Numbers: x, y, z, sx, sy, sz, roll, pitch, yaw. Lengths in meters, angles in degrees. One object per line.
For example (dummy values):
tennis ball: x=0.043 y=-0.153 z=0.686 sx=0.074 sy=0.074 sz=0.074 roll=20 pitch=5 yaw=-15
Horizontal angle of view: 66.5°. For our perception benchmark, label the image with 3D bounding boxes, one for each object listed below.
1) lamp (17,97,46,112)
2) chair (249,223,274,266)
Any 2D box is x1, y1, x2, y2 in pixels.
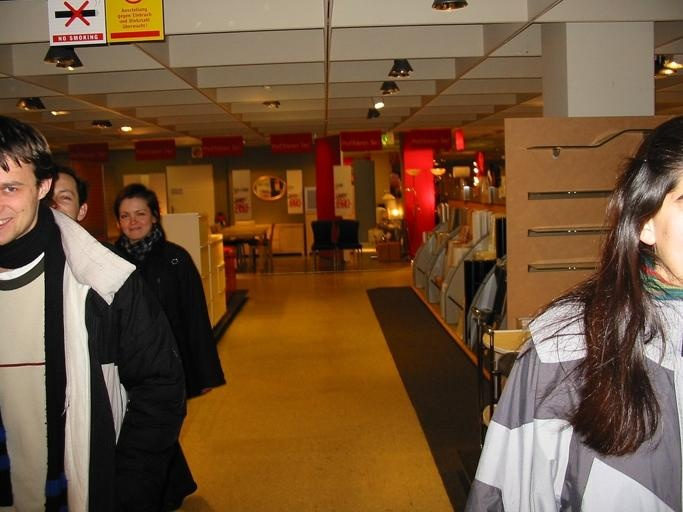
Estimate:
lamp: x=-4.270 y=-2.076 z=7.174 sx=0.264 sy=0.129 sz=0.269 roll=-2 pitch=6 yaw=-20
chair: x=-2.216 y=-0.326 z=14.398 sx=0.719 sy=1.072 sz=0.662 roll=4 pitch=14 yaw=17
